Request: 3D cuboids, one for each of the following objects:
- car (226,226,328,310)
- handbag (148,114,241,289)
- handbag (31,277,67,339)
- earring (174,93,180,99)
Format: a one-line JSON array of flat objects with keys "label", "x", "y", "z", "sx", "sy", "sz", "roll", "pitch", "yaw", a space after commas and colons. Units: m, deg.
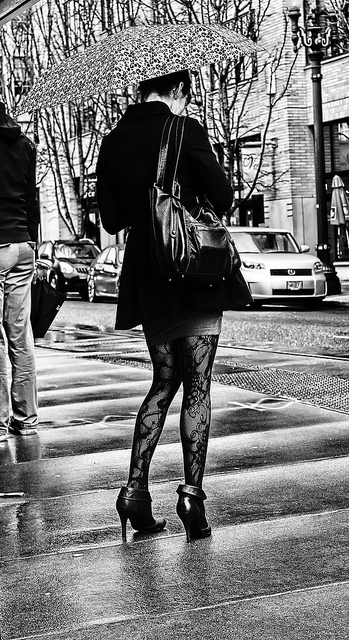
[{"label": "car", "x": 2.640, "y": -1.436, "z": 18.124, "sx": 1.894, "sy": 1.841, "sz": 3.524, "roll": -1, "pitch": -1, "yaw": -16}, {"label": "handbag", "x": 0.074, "y": -0.438, "z": 2.706, "sx": 0.344, "sy": 0.650, "sz": 0.258, "roll": -2, "pitch": 3, "yaw": -2}, {"label": "handbag", "x": -0.996, "y": -0.093, "z": 5.937, "sx": 0.120, "sy": 0.450, "sz": 0.305, "roll": 5, "pitch": 0, "yaw": -35}, {"label": "earring", "x": 0.011, "y": -0.882, "z": 2.898, "sx": 0.023, "sy": 0.019, "sz": 0.003, "roll": -4, "pitch": 3, "yaw": -31}]
